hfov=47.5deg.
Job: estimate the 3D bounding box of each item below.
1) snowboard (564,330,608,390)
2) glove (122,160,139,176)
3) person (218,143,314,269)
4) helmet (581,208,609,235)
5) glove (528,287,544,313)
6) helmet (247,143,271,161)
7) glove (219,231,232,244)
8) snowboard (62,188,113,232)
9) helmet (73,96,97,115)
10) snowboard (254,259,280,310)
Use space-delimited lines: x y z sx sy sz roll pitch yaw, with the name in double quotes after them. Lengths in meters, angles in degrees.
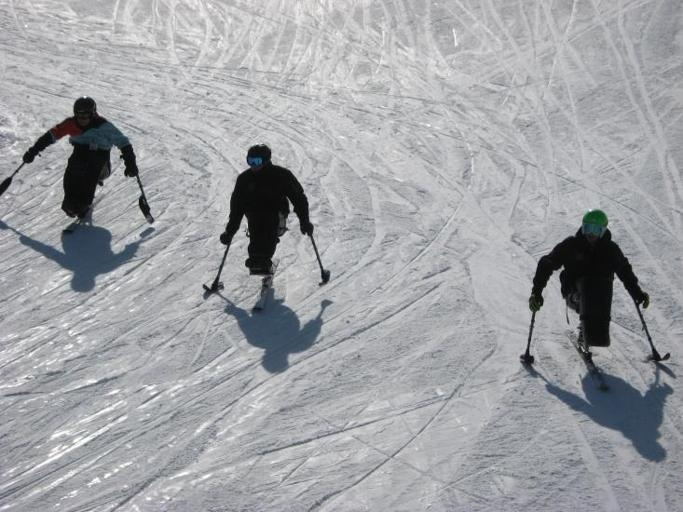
2.875 1.249 9.153 0.146 0.127 0.898 -16 25 0 "snowboard"
-3.048 -1.259 11.222 0.182 0.208 0.108 -11 13 -5 "glove"
-1.011 -0.623 10.110 1.062 1.617 0.512 -21 16 -37 "person"
2.931 -0.402 9.053 0.294 0.234 0.329 10 17 15 "helmet"
2.276 0.540 9.082 0.161 0.287 0.262 -9 12 12 "glove"
-1.060 -1.323 10.007 0.313 0.224 0.177 -13 12 -19 "helmet"
-1.481 -0.225 10.075 0.170 0.167 0.229 -11 11 -7 "glove"
-3.688 -0.628 11.337 0.845 0.211 0.126 -40 16 -29 "snowboard"
-3.656 -2.164 11.133 0.297 0.255 0.304 4 37 -13 "helmet"
-0.973 0.402 10.129 0.149 0.083 0.832 1 37 10 "snowboard"
